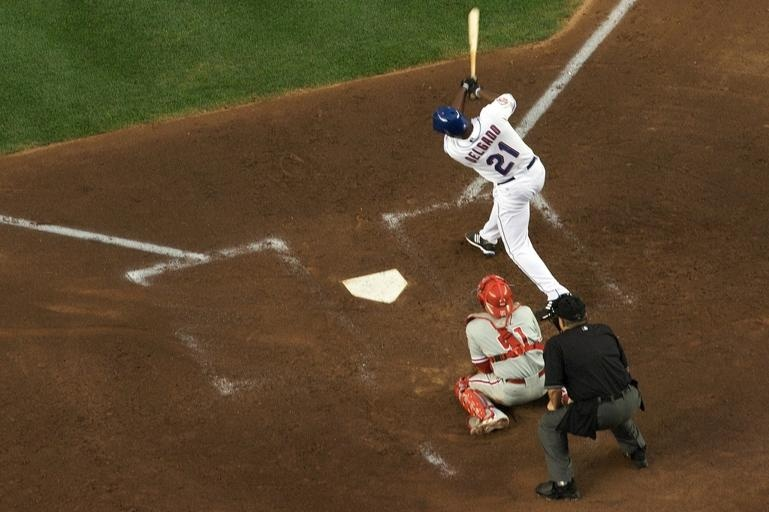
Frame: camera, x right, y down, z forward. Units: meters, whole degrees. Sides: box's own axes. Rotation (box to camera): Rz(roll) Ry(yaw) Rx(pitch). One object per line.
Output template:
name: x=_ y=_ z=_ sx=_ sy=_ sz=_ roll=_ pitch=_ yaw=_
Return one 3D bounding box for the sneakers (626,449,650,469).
sneakers: x=3.903 y=3.143 z=19.092 sx=0.201 sy=0.267 sz=0.144 roll=-29 pitch=12 yaw=7

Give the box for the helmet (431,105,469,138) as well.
helmet: x=1.058 y=-2.163 z=20.244 sx=0.422 sy=0.566 sz=0.499 roll=-62 pitch=13 yaw=0

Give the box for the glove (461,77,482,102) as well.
glove: x=1.433 y=-2.870 z=20.710 sx=0.221 sy=0.232 sz=0.542 roll=-12 pitch=44 yaw=-2

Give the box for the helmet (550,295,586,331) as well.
helmet: x=2.785 y=0.887 z=18.857 sx=0.437 sy=0.570 sz=0.561 roll=-20 pitch=56 yaw=-10
